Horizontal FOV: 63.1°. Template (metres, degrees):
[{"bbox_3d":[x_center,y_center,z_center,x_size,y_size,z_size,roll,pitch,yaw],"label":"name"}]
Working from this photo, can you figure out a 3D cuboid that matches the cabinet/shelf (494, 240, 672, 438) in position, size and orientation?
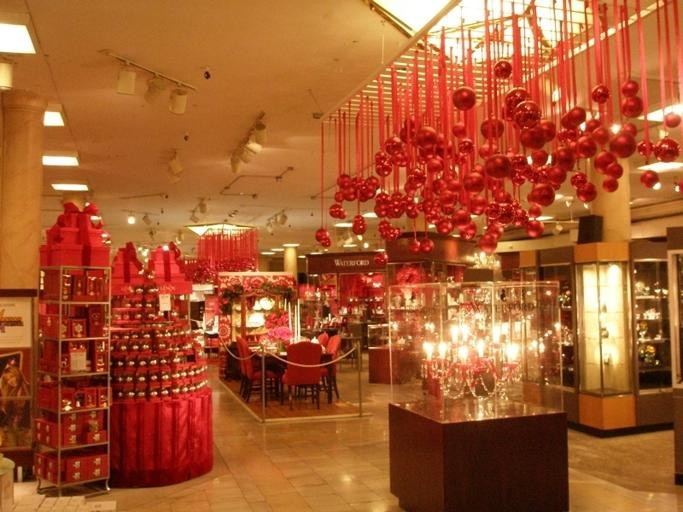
[{"bbox_3d":[3.581,1.238,7.857,1.592,2.778,2.876,1,-5,-24],"label":"cabinet/shelf"}]
